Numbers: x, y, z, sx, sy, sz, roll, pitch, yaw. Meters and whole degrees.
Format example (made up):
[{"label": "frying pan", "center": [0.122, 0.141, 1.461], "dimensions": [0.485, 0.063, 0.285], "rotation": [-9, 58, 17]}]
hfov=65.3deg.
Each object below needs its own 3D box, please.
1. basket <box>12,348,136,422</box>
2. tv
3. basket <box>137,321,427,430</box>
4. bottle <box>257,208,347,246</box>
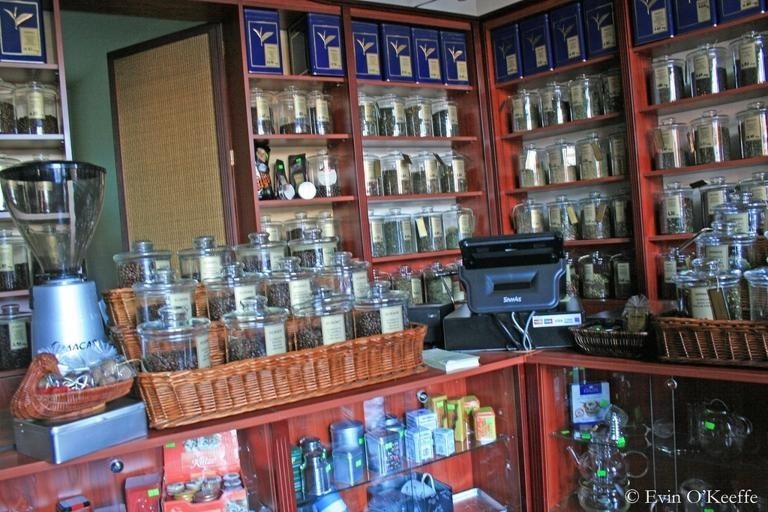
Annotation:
[{"label": "basket", "center": [-1.001, 0.403, 1.920], "dimensions": [0.201, 0.172, 0.339], "rotation": [-7, -11, 43]}, {"label": "tv", "center": [0.551, -0.021, 2.562], "dimensions": [0.473, 0.339, 0.337], "rotation": [-2, 7, 8]}, {"label": "basket", "center": [-0.362, 0.439, 2.163], "dimensions": [0.690, 0.137, 0.390], "rotation": [-4, -2, -30]}, {"label": "bottle", "center": [-0.502, -0.129, 3.721], "dimensions": [0.309, 0.294, 0.324], "rotation": [-2, -2, 29]}]
